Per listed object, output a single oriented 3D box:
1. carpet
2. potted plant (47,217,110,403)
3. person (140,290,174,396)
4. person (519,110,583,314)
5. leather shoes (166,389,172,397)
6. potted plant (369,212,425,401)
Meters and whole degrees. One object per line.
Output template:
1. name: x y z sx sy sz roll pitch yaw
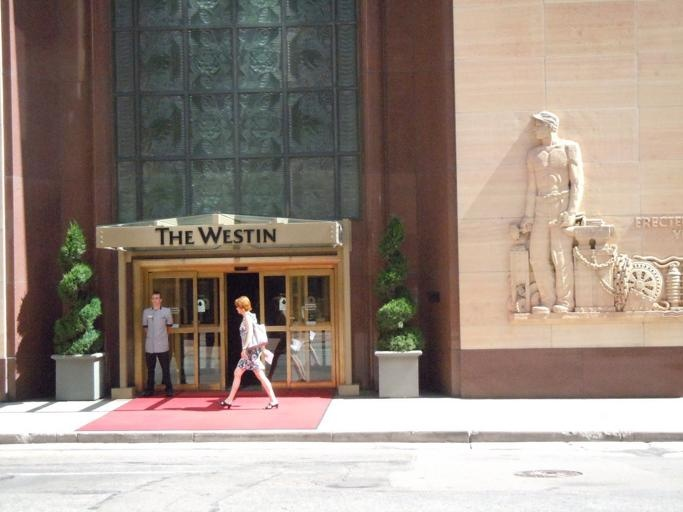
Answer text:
1. carpet: -2.473 3.053 24.155 4.319 0.375 3.117 -1 12 2
2. potted plant: -5.483 1.238 25.496 1.004 3.512 1.076 -2 14 -4
3. person: -3.869 1.852 25.938 0.620 2.149 0.787 -3 14 -7
4. person: 4.197 -0.871 24.711 1.151 3.887 1.188 10 18 40
5. leather shoes: -3.634 2.877 25.909 0.135 0.112 0.297 1 -6 -8
6. potted plant: 1.153 1.081 25.559 0.945 3.731 1.652 -1 13 2
